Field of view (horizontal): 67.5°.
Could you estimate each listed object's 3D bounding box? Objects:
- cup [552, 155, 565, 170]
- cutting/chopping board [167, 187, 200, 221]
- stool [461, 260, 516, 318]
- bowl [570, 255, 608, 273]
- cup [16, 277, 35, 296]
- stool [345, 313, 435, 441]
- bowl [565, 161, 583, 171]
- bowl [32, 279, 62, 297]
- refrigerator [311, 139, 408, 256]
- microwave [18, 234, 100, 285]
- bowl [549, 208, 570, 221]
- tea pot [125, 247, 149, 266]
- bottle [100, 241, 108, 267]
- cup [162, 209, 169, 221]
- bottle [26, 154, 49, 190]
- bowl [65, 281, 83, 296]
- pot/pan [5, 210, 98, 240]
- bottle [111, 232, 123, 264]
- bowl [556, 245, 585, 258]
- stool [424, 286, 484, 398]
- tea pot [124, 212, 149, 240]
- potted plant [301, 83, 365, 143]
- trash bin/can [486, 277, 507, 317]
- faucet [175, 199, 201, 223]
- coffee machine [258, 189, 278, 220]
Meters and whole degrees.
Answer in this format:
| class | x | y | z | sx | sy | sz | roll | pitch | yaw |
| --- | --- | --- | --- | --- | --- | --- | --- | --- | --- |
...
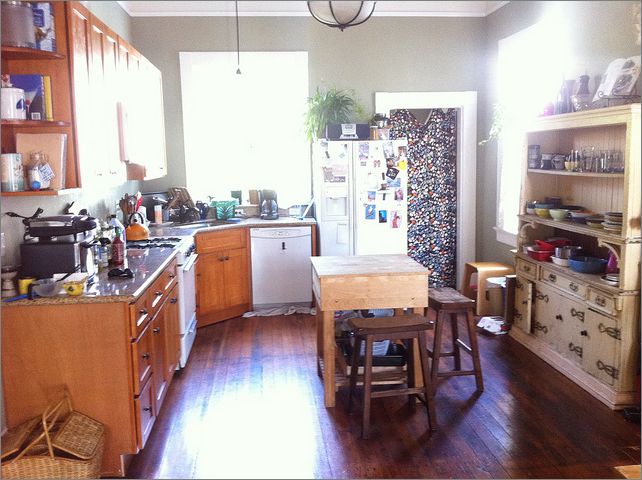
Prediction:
| class | x | y | z | sx | sy | sz | roll | pitch | yaw |
| --- | --- | --- | --- | --- | --- | --- | --- | --- | --- |
| cup | 2.226 | -0.719 | 4.527 | 0.125 | 0.114 | 0.121 | -1 | 2 | 0 |
| cutting/chopping board | -1.688 | -0.427 | 5.749 | 0.352 | 0.439 | 0.145 | -11 | -24 | 0 |
| stool | 1.905 | 0.507 | 5.811 | 0.560 | 0.632 | 0.701 | -2 | 11 | -7 |
| bowl | 2.310 | 0.202 | 4.141 | 0.283 | 0.110 | 0.351 | 5 | 14 | 27 |
| cup | -1.822 | 0.285 | 2.935 | 0.102 | 0.105 | 0.114 | 2 | 0 | -32 |
| stool | 0.510 | 0.938 | 3.506 | 0.624 | 0.785 | 0.522 | -2 | 13 | -2 |
| bowl | 2.234 | -0.641 | 4.234 | 0.095 | 0.055 | 0.093 | -1 | 8 | 0 |
| bowl | -1.659 | 0.289 | 2.887 | 0.159 | 0.089 | 0.126 | -4 | 13 | -11 |
| refrigerator | 0.472 | -0.496 | 5.682 | 1.063 | 1.338 | 0.376 | 0 | 13 | 4 |
| microwave | -1.697 | 0.135 | 3.123 | 0.286 | 0.286 | 0.437 | 0 | 1 | -10 |
| bowl | 2.193 | -0.225 | 4.387 | 0.114 | 0.077 | 0.123 | 0 | -1 | 0 |
| tea pot | -1.463 | 0.129 | 3.763 | 0.151 | 0.118 | 0.163 | 1 | 11 | 0 |
| bottle | -1.634 | 0.099 | 3.593 | 0.042 | 0.187 | 0.236 | -6 | 14 | -18 |
| cup | -1.829 | -0.278 | 5.601 | 0.054 | 0.132 | 0.099 | -2 | 13 | -1 |
| bottle | -1.780 | -0.425 | 3.011 | 0.150 | 0.222 | 0.083 | -6 | 14 | -21 |
| bowl | -1.482 | 0.290 | 2.863 | 0.094 | 0.061 | 0.083 | 1 | -2 | 10 |
| pot/pan | -1.712 | -0.085 | 3.134 | 0.363 | 0.168 | 0.258 | 0 | 8 | -14 |
| bottle | -1.551 | 0.085 | 3.632 | 0.088 | 0.189 | 0.157 | -7 | 14 | -21 |
| bowl | 2.243 | 0.111 | 4.351 | 0.145 | 0.085 | 0.141 | -1 | 8 | 0 |
| stool | 1.140 | 0.907 | 4.135 | 0.432 | 0.786 | 0.790 | -3 | 9 | -1 |
| tea pot | -1.781 | -0.123 | 4.648 | 0.225 | 0.274 | 0.324 | 2 | 7 | 0 |
| potted plant | 0.184 | -1.586 | 6.132 | 0.711 | 0.688 | 0.735 | 1 | -1 | 4 |
| trash bin/can | 1.983 | 0.641 | 5.445 | 0.189 | 0.395 | 0.240 | 2 | 14 | 15 |
| faucet | -1.607 | -0.343 | 5.776 | 0.252 | 0.225 | 0.339 | -5 | 13 | -14 |
| coffee machine | -0.666 | -0.433 | 6.015 | 0.303 | 0.455 | 0.344 | 0 | 0 | -6 |
